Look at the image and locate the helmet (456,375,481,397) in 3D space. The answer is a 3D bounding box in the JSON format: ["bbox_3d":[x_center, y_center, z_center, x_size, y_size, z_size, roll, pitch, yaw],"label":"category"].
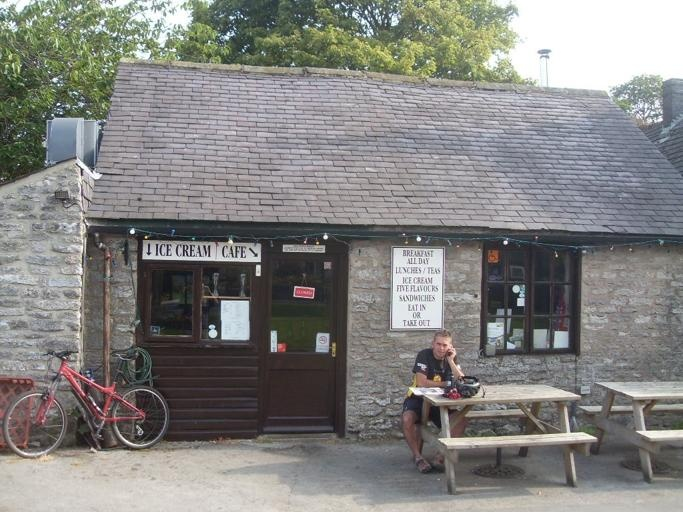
[{"bbox_3d":[1.909,1.956,13.721,0.403,0.304,0.278,6,-5,14],"label":"helmet"}]

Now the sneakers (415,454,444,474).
[{"bbox_3d":[1.339,3.187,13.964,0.182,0.222,0.544,3,-24,-23],"label":"sneakers"}]

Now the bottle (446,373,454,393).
[{"bbox_3d":[1.637,1.887,13.643,0.122,0.243,0.219,-1,-3,17],"label":"bottle"}]
